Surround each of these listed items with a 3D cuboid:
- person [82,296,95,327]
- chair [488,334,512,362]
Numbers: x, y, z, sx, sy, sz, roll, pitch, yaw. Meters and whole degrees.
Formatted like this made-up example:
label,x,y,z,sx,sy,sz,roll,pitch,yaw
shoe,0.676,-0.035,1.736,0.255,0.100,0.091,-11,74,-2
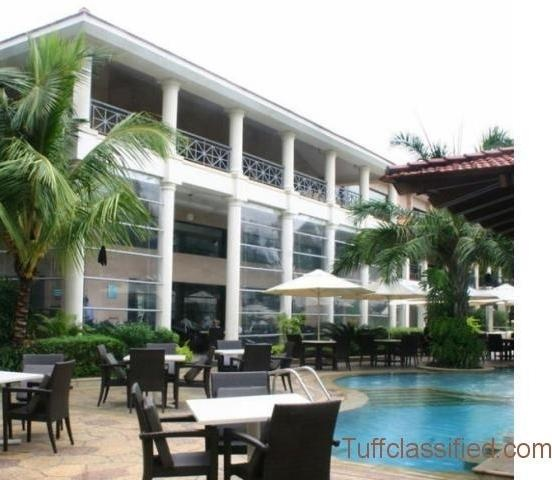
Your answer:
label,x,y,z,sx,sy,sz,roll,pitch,yaw
person,-5.190,1.967,15.755,0.109,0.817,0.408,-6,-13,33
chair,8.125,3.943,20.532,0.826,0.940,3.418,-4,-13,21
